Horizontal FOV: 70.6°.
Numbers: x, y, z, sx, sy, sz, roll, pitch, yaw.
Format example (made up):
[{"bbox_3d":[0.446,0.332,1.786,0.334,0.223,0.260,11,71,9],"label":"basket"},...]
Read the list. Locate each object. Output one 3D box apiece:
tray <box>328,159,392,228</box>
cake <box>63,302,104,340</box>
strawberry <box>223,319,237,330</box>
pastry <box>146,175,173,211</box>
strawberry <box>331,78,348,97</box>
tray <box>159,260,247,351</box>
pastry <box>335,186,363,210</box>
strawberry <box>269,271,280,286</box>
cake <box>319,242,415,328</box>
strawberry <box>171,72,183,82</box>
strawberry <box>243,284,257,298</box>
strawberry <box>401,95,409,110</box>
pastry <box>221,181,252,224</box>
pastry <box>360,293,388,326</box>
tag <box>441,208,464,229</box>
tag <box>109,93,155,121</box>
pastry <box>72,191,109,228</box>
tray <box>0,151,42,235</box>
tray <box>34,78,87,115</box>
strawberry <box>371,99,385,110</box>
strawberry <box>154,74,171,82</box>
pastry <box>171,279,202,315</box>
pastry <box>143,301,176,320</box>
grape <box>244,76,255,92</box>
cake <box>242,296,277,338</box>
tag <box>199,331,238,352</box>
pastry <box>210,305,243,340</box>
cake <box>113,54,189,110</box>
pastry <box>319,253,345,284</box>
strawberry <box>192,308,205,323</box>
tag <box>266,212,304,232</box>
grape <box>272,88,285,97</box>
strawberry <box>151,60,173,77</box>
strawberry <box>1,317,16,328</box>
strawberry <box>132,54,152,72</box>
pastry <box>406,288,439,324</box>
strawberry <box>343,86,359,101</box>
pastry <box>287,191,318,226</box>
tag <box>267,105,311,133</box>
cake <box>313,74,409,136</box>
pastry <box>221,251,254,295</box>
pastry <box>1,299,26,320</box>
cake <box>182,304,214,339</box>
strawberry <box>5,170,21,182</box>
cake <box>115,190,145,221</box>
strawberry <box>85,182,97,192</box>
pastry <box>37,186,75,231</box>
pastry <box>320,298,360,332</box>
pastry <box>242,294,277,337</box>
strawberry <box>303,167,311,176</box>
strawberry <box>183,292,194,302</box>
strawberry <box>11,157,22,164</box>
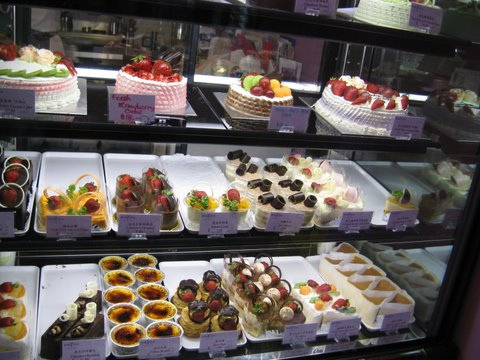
[{"bbox_3d":[0.879,0.105,2.593,0.356,0.053,0.715,-7,39,-15],"label":"tray"},{"bbox_3d":[-0.808,0.702,1.750,0.136,0.269,0.062,14,26,-25],"label":"cake"},{"bbox_3d":[-0.059,0.806,1.895,0.072,0.046,0.036,3,24,-3],"label":"strawberry"},{"bbox_3d":[-0.466,0.055,1.877,0.154,0.173,0.154,-3,32,-37],"label":"pastry"},{"bbox_3d":[0.547,-0.516,1.937,0.083,0.098,0.084,21,4,1],"label":"strawberry"},{"bbox_3d":[-0.378,0.890,2.457,0.348,0.051,0.726,-3,31,-9],"label":"tray"},{"bbox_3d":[0.687,0.128,2.164,0.176,0.077,0.237,4,26,5],"label":"pastry"},{"bbox_3d":[0.217,0.648,2.208,0.058,0.033,0.049,27,-1,-17],"label":"strawberry"},{"bbox_3d":[0.845,0.722,2.387,0.355,0.223,0.585,-9,34,-30],"label":"cake"},{"bbox_3d":[-0.311,-0.516,1.683,0.058,0.019,0.058,29,21,3],"label":"strawberry"},{"bbox_3d":[0.061,0.677,2.073,0.064,0.031,0.067,-5,24,2],"label":"strawberry"},{"bbox_3d":[0.917,-0.435,1.891,0.053,0.076,0.025,0,-14,45],"label":"strawberry"},{"bbox_3d":[-0.037,0.098,1.935,0.133,0.137,0.167,14,62,3],"label":"pastry"},{"bbox_3d":[0.844,0.824,2.242,0.179,0.138,0.180,-6,21,-17],"label":"pastry"},{"bbox_3d":[1.304,0.232,2.089,0.157,0.107,0.039,3,2,5],"label":"tag"},{"bbox_3d":[-0.460,-0.306,1.422,0.124,0.081,0.016,0,15,-17],"label":"tag"},{"bbox_3d":[-0.719,0.156,1.671,0.122,0.078,0.193,-1,15,-5],"label":"pastry"},{"bbox_3d":[-1.027,0.068,1.587,0.191,0.042,0.591,2,51,-30],"label":"tray"},{"bbox_3d":[-0.749,-0.344,1.470,0.207,0.010,0.236,1,39,-13],"label":"tray"},{"bbox_3d":[0.733,-0.405,1.814,0.063,0.039,0.026,-38,4,-1],"label":"strawberry"},{"bbox_3d":[-0.374,-0.481,1.610,0.043,0.015,0.057,-2,38,-8],"label":"strawberry"},{"bbox_3d":[-0.323,0.683,2.069,0.168,0.166,0.172,6,21,5],"label":"pastry"},{"bbox_3d":[-0.462,0.756,1.959,0.098,0.023,0.099,2,22,-20],"label":"pastry"},{"bbox_3d":[0.030,-0.524,1.852,0.069,0.081,0.070,0,24,-21],"label":"grape"},{"bbox_3d":[0.116,0.784,2.084,0.149,0.209,0.241,17,24,19],"label":"cake"},{"bbox_3d":[-0.123,0.879,1.851,0.151,0.092,0.007,-2,11,-19],"label":"tag"},{"bbox_3d":[-0.078,0.832,1.933,0.174,0.178,0.184,0,-10,34],"label":"pastry"},{"bbox_3d":[-0.435,-0.476,1.653,0.286,0.216,0.282,-19,33,-41],"label":"cake"},{"bbox_3d":[0.662,0.631,2.475,0.173,0.115,0.176,13,28,18],"label":"pastry"},{"bbox_3d":[-0.232,0.756,1.885,0.059,0.044,0.056,-3,19,-13],"label":"strawberry"},{"bbox_3d":[0.238,0.218,1.797,0.129,0.082,0.136,6,17,2],"label":"tag"},{"bbox_3d":[0.201,-0.464,1.784,0.051,0.039,0.039,13,18,27],"label":"grape"},{"bbox_3d":[-0.387,-0.542,1.708,0.082,0.079,0.083,36,71,4],"label":"strawberry"},{"bbox_3d":[-1.195,0.730,1.751,0.076,0.046,0.051,16,26,-36],"label":"strawberry"},{"bbox_3d":[-0.491,-0.591,1.715,0.093,0.100,0.093,13,24,23],"label":"strawberry"},{"bbox_3d":[1.246,0.817,2.310,0.093,0.232,0.251,3,24,0],"label":"pastry"},{"bbox_3d":[0.598,-0.464,1.863,0.073,0.071,0.073,40,0,-19],"label":"strawberry"},{"bbox_3d":[0.356,0.164,2.045,0.160,0.162,0.179,10,12,-30],"label":"pastry"},{"bbox_3d":[0.230,-0.287,1.614,0.201,0.116,0.063,3,24,-3],"label":"tag"},{"bbox_3d":[0.665,-0.428,1.915,0.523,0.229,0.463,-19,33,-40],"label":"cake"},{"bbox_3d":[-0.062,0.602,2.270,0.172,0.234,0.267,-2,13,-16],"label":"pastry"},{"bbox_3d":[-1.216,0.701,1.820,0.110,0.071,0.130,-15,31,-36],"label":"pastry"},{"bbox_3d":[-0.249,0.789,1.975,0.174,0.152,0.176,-8,24,-22],"label":"cake"},{"bbox_3d":[-1.073,-0.018,1.617,0.047,0.056,0.046,8,-4,-5],"label":"strawberry"},{"bbox_3d":[-0.541,0.130,1.735,0.109,0.125,0.119,11,29,6],"label":"cake"},{"bbox_3d":[-0.830,0.036,1.884,0.042,0.041,0.041,26,68,12],"label":"strawberry"},{"bbox_3d":[-0.849,0.137,1.563,0.112,0.126,0.113,34,34,25],"label":"pastry"},{"bbox_3d":[0.616,0.849,2.195,0.252,0.162,0.254,-2,1,4],"label":"pastry"},{"bbox_3d":[0.118,0.789,2.072,0.147,0.205,0.243,12,12,26],"label":"pastry"},{"bbox_3d":[0.471,-0.058,2.386,0.055,0.037,0.060,7,24,7],"label":"strawberry"},{"bbox_3d":[-0.312,0.698,2.029,0.047,0.046,0.048,0,5,4],"label":"strawberry"},{"bbox_3d":[-1.164,-0.102,1.761,0.031,0.028,0.028,-18,-3,-6],"label":"strawberry"}]
